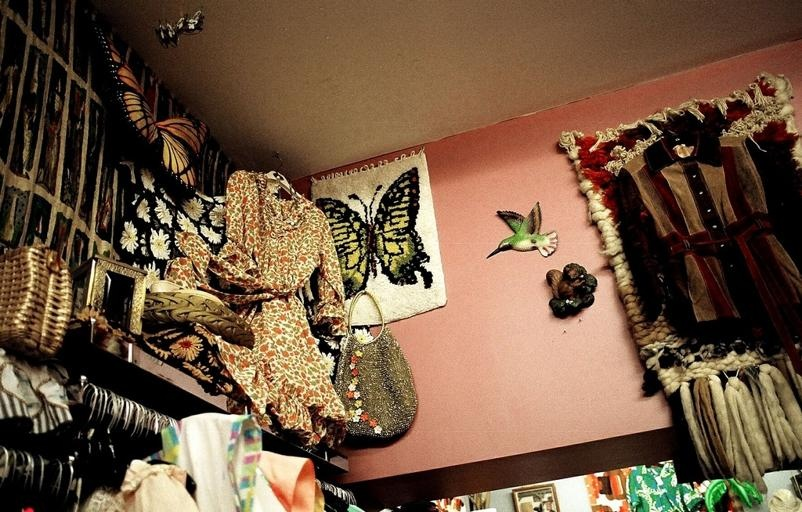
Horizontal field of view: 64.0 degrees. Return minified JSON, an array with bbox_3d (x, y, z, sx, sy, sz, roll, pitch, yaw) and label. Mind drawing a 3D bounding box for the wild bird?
[{"bbox_3d":[0.734,-0.166,3.776,0.343,0.369,0.095,-7,-29,21],"label":"wild bird"}]
